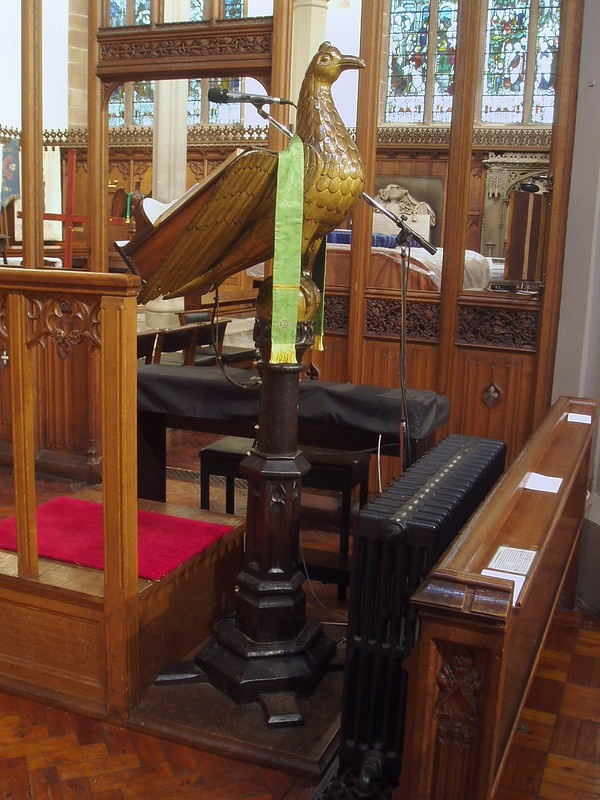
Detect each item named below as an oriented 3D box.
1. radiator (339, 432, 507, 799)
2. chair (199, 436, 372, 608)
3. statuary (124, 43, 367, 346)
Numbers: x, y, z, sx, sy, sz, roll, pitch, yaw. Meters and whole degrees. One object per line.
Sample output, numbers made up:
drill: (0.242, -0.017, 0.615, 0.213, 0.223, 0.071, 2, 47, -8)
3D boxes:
radiator: (0.302, 0.531, 1.756, 0.181, 0.674, 0.880, 5, 12, 21)
chair: (-0.069, 0.550, 3.614, 0.804, 0.650, 0.427, 7, 11, 12)
statuary: (-0.147, -0.589, 2.345, 0.841, 0.755, 0.926, -1, 19, 4)
